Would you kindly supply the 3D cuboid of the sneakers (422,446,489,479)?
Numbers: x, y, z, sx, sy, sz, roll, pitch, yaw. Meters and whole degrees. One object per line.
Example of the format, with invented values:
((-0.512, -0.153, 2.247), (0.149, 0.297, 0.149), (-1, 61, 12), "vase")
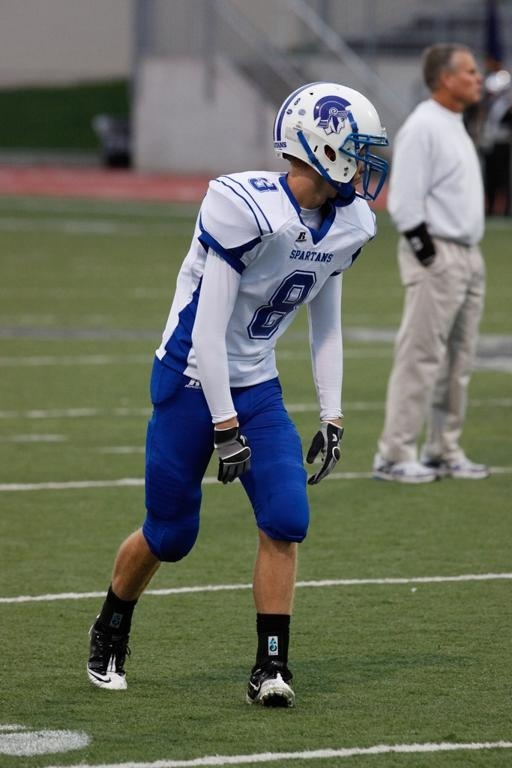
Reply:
((0.687, 0.285, 4.421), (0.064, 0.075, 0.203), (16, -14, -35), "sneakers")

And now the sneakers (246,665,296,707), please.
((0.038, 0.747, 3.202), (0.114, 0.114, 0.086), (-1, 10, -1), "sneakers")

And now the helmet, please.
((0.190, -0.645, 3.300), (0.310, 0.211, 0.210), (6, 14, -4), "helmet")

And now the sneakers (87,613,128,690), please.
((-0.398, 0.702, 3.405), (0.077, 0.076, 0.192), (9, 41, -27), "sneakers")

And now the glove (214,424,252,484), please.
((-0.055, 0.170, 3.161), (0.103, 0.125, 0.064), (-1, -10, -8), "glove")

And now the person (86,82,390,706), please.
((-0.035, 0.022, 3.321), (0.836, 1.559, 0.594), (-2, 10, -7), "person")
